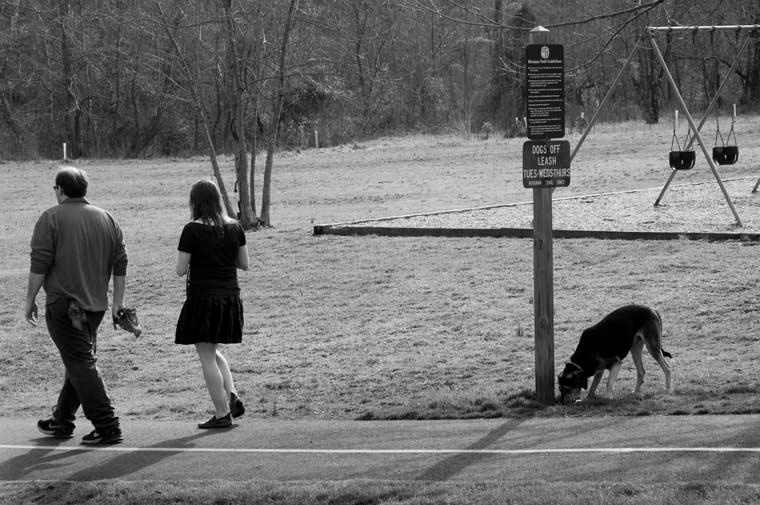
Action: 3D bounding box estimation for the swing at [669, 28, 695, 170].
[{"bbox_3d":[9.357,-4.301,46.687,0.848,3.503,0.790,-3,8,-41],"label":"swing"}]
